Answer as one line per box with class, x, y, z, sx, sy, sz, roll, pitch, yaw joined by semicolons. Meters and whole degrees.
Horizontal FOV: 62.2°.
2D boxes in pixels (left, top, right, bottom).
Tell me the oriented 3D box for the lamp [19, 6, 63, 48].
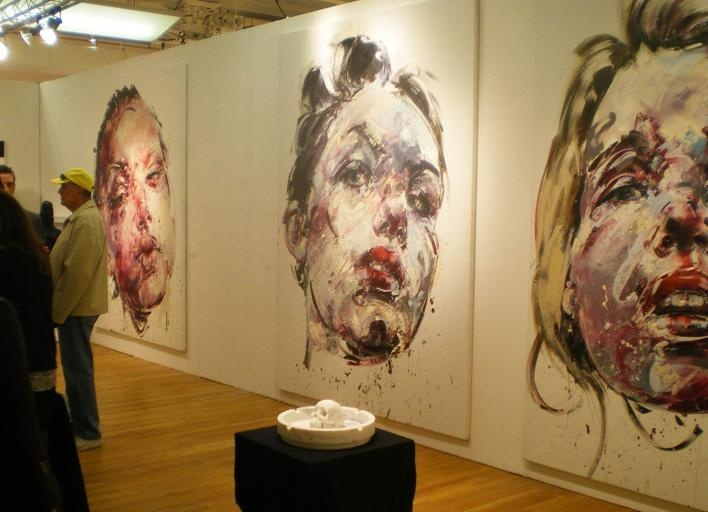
lamp;-4.059;-2.984;7.655;0.418;0.420;0.913;-10;13;-41
